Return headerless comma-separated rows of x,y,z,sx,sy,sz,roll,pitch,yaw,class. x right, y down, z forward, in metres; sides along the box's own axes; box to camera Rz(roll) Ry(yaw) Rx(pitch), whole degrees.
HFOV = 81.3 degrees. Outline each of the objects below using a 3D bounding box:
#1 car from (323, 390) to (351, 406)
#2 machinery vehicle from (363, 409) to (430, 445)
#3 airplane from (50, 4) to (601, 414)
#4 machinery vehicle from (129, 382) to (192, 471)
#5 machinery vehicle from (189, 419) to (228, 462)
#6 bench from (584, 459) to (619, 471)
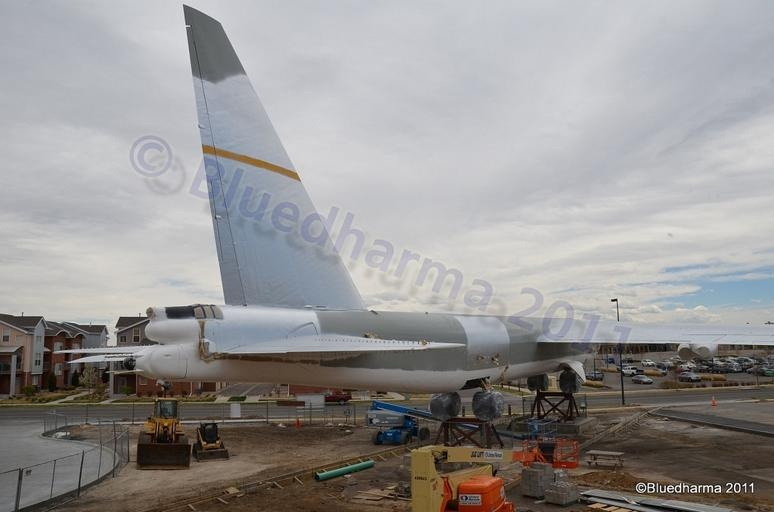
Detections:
-5.579,15.988,50.713,2.789,0.918,1.498,5,-11,-18,car
0.582,11.410,29.763,4.404,1.614,2.132,-2,-3,19,machinery vehicle
0.478,-0.831,23.515,22.095,7.273,21.298,-1,-3,36,airplane
-14.492,10.290,29.109,3.088,2.597,8.878,8,-2,-28,machinery vehicle
-11.543,11.513,28.822,2.178,1.522,3.749,10,-3,-38,machinery vehicle
11.267,10.841,23.440,1.674,0.271,1.296,-6,-10,30,bench
